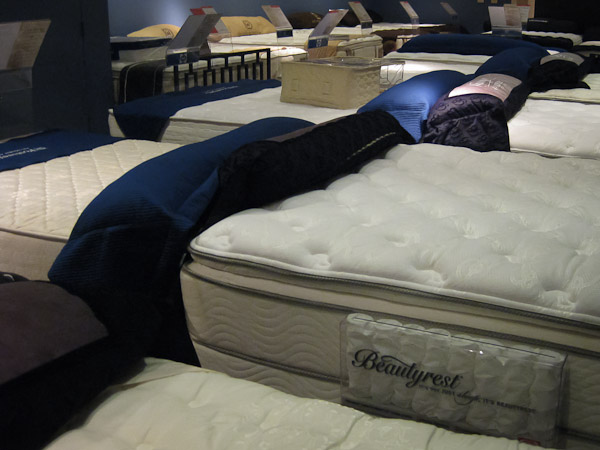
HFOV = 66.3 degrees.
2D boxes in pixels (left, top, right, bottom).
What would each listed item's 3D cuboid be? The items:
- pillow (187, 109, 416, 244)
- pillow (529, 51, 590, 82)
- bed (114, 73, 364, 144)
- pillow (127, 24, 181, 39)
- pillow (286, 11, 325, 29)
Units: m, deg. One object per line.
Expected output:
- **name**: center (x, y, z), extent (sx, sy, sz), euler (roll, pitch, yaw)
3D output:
- **pillow**: center (0.021, -0.135, 1.320), extent (0.460, 0.274, 0.857), euler (19, 30, 36)
- **pillow**: center (1.735, -1.131, 3.097), extent (0.384, 0.090, 0.173), euler (14, 58, 23)
- **bed**: center (-0.320, -0.601, 2.345), extent (0.829, 0.161, 0.840), euler (15, 24, 42)
- **pillow**: center (-1.493, -2.009, 4.720), extent (0.476, 0.114, 0.487), euler (-8, 23, -14)
- **pillow**: center (0.065, -3.062, 6.826), extent (0.499, 0.242, 0.511), euler (-2, 23, 1)
